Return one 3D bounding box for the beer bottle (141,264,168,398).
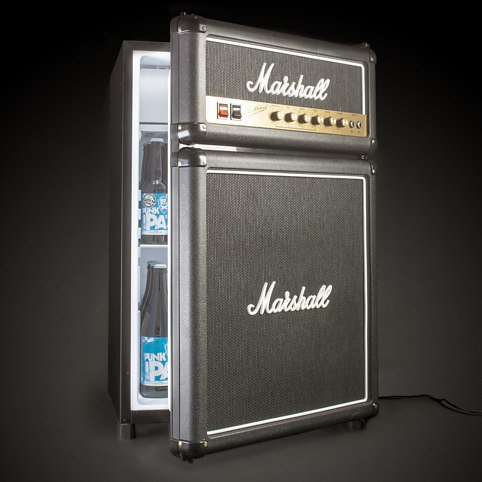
[{"bbox_3d":[-0.276,0.299,1.735,0.099,0.434,0.104,-2,15,1],"label":"beer bottle"}]

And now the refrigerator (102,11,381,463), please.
[{"bbox_3d":[-0.067,0.027,1.777,0.790,1.205,0.778,0,2,-31],"label":"refrigerator"}]
